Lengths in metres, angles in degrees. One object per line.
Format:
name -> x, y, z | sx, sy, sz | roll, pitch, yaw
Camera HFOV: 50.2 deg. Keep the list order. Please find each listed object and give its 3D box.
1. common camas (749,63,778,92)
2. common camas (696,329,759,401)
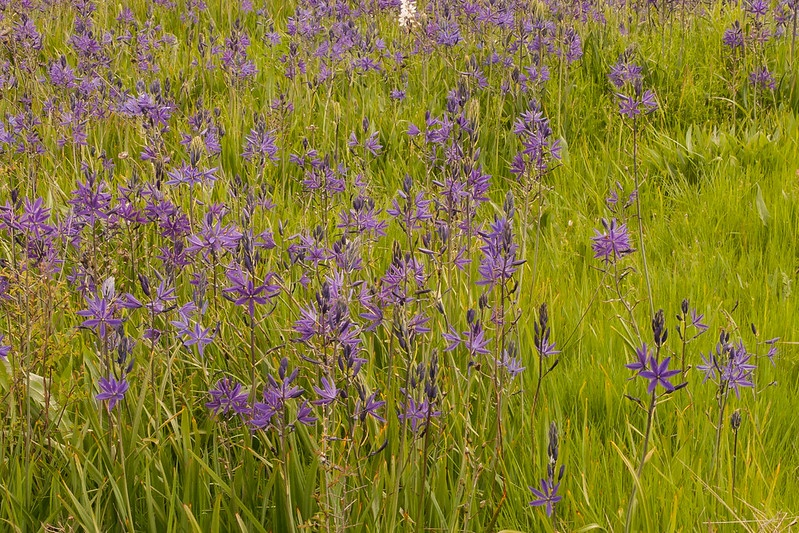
common camas -> 2.936, -1.507, 6.903 | 0.156, 0.232, 0.227 | -8, 51, 2
common camas -> 1.563, 0.488, 4.073 | 0.161, 0.254, 0.252 | 9, 23, 8
